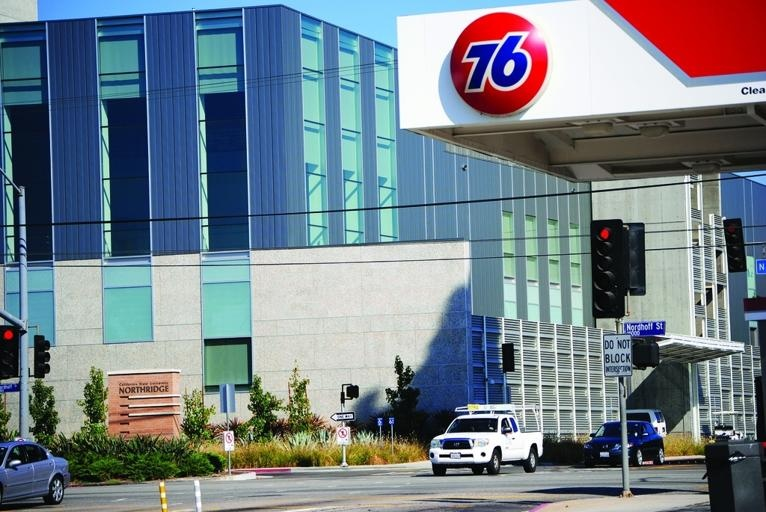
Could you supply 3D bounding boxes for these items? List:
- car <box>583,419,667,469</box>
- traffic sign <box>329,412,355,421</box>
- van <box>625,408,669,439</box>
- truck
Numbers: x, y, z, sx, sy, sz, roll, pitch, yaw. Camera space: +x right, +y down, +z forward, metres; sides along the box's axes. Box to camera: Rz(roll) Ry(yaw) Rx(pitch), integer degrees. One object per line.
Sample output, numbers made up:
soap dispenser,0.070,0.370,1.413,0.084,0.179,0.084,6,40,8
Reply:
car,11.439,8.687,74.229,2.251,1.723,4.053,-7,-15,33
traffic sign,-2.101,8.197,80.331,1.542,0.664,0.026,2,-19,-1
van,14.515,8.723,85.229,2.008,1.768,3.491,-5,-17,25
truck,4.769,8.412,72.304,3.358,2.899,6.910,-2,-6,31
